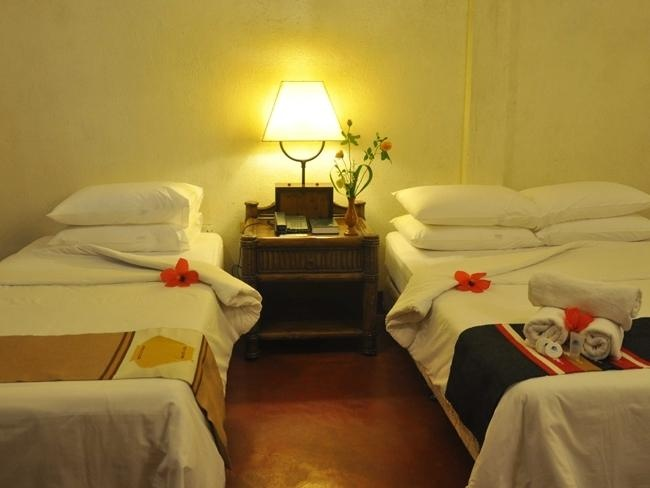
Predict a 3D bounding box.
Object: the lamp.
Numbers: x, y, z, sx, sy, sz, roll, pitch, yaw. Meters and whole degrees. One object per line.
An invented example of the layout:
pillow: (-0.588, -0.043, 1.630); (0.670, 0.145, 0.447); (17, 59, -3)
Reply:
lamp: (-0.123, -0.617, 2.838); (0.449, 0.667, 0.460); (1, 24, 2)

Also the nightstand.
nightstand: (-0.092, 0.173, 2.709); (0.722, 0.764, 0.584); (-1, 12, -8)

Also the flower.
flower: (0.200, -0.431, 2.880); (0.324, 0.394, 0.281); (5, 3, -11)

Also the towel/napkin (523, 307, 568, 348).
towel/napkin: (0.723, 0.259, 1.587); (0.110, 0.120, 0.048); (6, -26, 19)

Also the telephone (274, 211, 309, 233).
telephone: (-0.180, -0.120, 2.538); (0.131, 0.061, 0.135); (2, 35, -10)
